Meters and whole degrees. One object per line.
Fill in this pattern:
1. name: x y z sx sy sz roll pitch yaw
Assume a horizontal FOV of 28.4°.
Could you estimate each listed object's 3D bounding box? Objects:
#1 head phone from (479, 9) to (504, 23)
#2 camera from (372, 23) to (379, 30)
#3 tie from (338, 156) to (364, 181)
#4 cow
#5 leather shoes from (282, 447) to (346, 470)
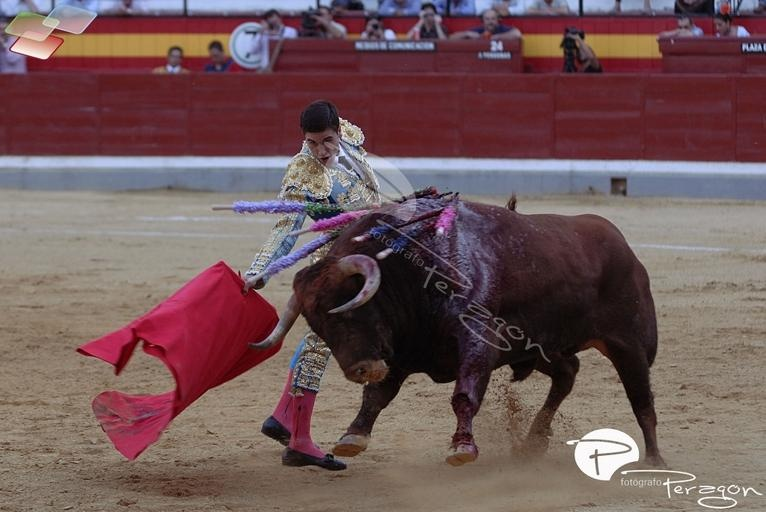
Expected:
1. head phone: 1.134 -2.505 15.906 0.154 0.149 0.163 -3 -7 2
2. camera: -0.088 -2.455 16.184 0.070 0.063 0.022 3 8 6
3. tie: -0.216 -0.597 10.093 0.176 0.063 0.127 38 10 -5
4. cow: 0.630 0.517 10.022 2.468 1.861 0.699 -4 10 -23
5. leather shoes: -0.492 1.369 10.304 0.469 0.123 0.156 8 2 -11
